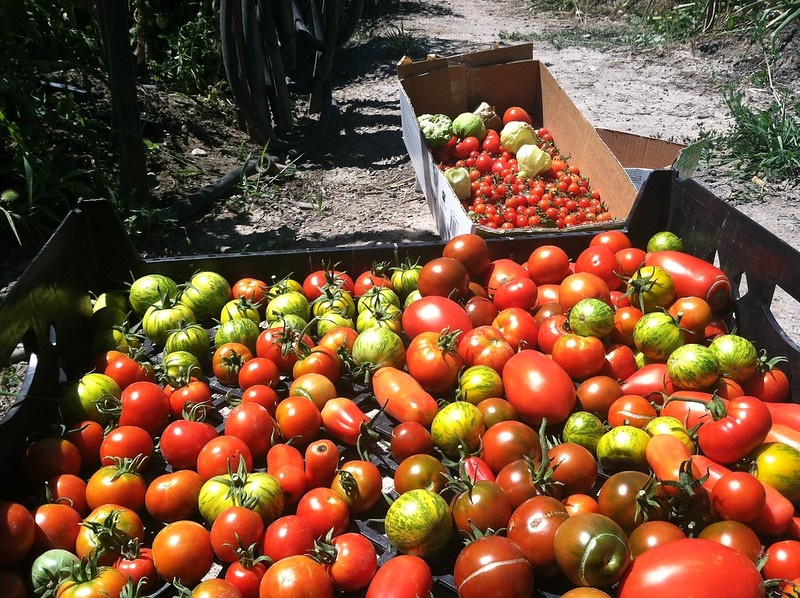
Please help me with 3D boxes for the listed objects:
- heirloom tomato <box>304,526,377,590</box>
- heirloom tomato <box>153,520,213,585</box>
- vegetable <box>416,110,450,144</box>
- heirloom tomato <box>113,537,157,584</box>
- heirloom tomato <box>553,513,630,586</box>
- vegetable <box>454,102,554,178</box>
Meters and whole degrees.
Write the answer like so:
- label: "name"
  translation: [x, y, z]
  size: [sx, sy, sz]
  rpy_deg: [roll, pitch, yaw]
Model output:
- label: "heirloom tomato"
  translation: [-0.184, 0.851, 2.204]
  size: [0.194, 0.248, 0.223]
  rpy_deg: [-11, 62, 35]
- label: "heirloom tomato"
  translation: [-0.757, 0.888, 2.224]
  size: [0.199, 0.234, 0.243]
  rpy_deg: [2, 78, -2]
- label: "vegetable"
  translation: [0.260, -1.359, 4.999]
  size: [0.234, 0.151, 0.256]
  rpy_deg: [13, 35, 14]
- label: "heirloom tomato"
  translation: [-0.921, 0.919, 2.191]
  size: [0.121, 0.130, 0.163]
  rpy_deg: [-10, 75, 0]
- label: "heirloom tomato"
  translation: [0.595, 0.787, 2.127]
  size: [0.199, 0.244, 0.254]
  rpy_deg: [4, 11, -6]
- label: "vegetable"
  translation: [0.900, -1.262, 4.985]
  size: [0.662, 0.305, 0.692]
  rpy_deg: [-11, 50, -36]
